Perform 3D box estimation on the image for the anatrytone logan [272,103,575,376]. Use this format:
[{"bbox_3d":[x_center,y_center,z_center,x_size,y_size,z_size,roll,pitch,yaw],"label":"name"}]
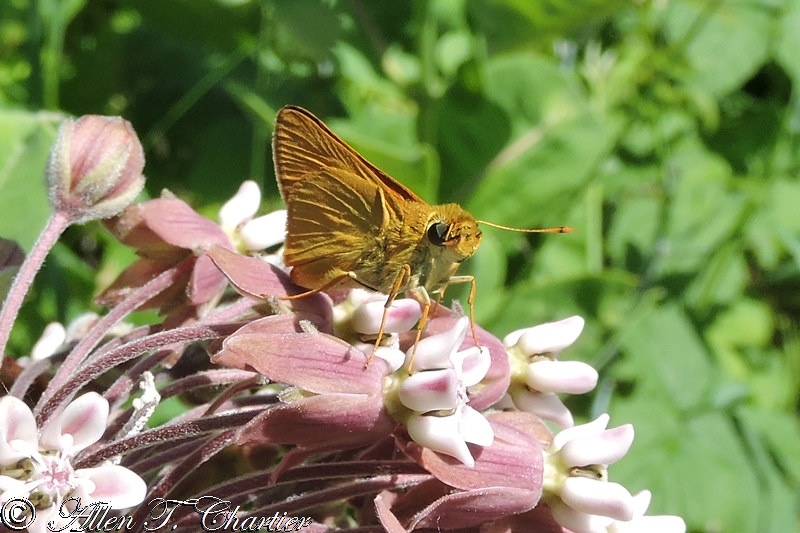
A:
[{"bbox_3d":[0.001,-0.038,1.106,0.356,0.258,0.161,20,24,10],"label":"anatrytone logan"}]
